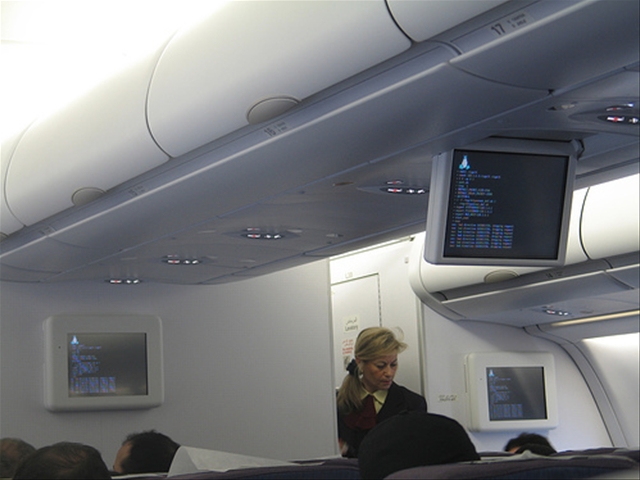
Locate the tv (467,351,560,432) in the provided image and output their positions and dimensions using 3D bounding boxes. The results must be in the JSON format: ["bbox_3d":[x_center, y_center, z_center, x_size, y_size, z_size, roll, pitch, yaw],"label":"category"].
[{"bbox_3d":[1.338,1.063,3.421,0.461,0.552,0.509,3,-14,-17],"label":"tv"}]

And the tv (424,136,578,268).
[{"bbox_3d":[0.495,-0.114,1.370,0.400,0.290,0.112,3,1,-24],"label":"tv"}]

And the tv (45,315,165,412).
[{"bbox_3d":[-1.133,0.644,2.543,0.636,0.427,0.083,3,-17,-28],"label":"tv"}]
